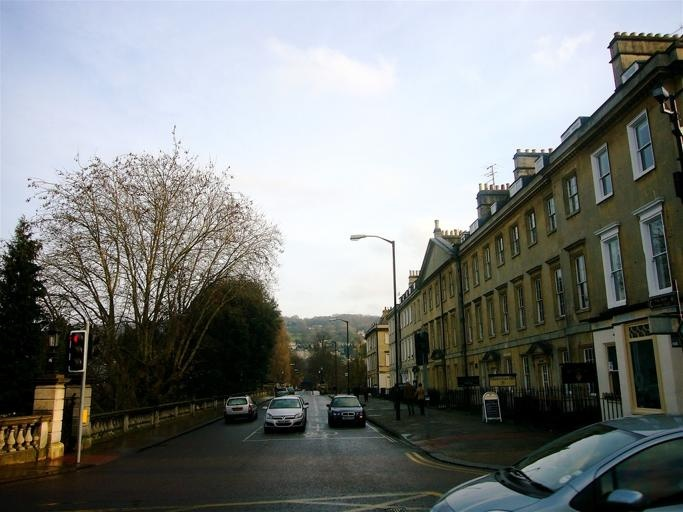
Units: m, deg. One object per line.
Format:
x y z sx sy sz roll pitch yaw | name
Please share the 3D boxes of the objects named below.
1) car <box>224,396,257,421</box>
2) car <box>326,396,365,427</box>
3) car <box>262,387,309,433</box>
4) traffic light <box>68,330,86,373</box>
-5.707 8.540 31.108 1.384 1.346 1.839 -2 -9 7 | car
0.160 7.464 26.730 1.603 1.313 1.897 0 -9 -6 | car
-2.531 7.075 24.945 1.796 1.395 2.203 0 -9 -7 | car
-8.094 2.873 16.965 0.497 1.226 0.800 3 -9 -27 | traffic light
